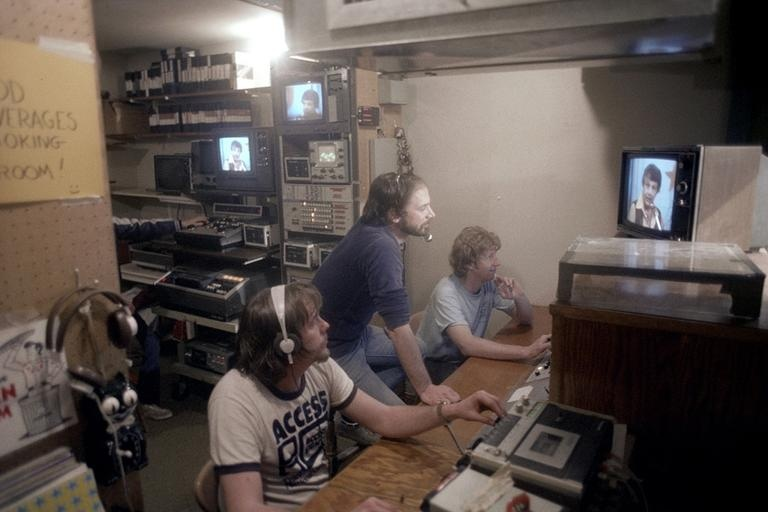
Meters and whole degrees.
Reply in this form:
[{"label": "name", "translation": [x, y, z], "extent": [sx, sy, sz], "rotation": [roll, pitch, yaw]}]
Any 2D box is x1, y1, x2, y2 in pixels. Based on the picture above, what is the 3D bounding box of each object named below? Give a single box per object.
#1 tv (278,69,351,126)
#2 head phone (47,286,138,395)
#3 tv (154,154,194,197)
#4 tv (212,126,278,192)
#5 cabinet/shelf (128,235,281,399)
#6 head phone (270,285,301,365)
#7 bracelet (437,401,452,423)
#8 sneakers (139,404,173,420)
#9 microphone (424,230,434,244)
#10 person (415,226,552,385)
[{"label": "tv", "translation": [-0.462, -1.097, 3.970], "extent": [0.661, 0.407, 0.373], "rotation": [4, 11, 26]}, {"label": "head phone", "translation": [-1.111, 0.319, 2.126], "extent": [0.239, 0.359, 0.291], "rotation": [-4, 8, 17]}, {"label": "tv", "translation": [-2.105, -0.816, 5.519], "extent": [0.416, 0.374, 0.208], "rotation": [8, 18, 25]}, {"label": "tv", "translation": [-1.122, -0.799, 4.483], "extent": [0.579, 0.481, 0.317], "rotation": [4, 8, 32]}, {"label": "cabinet/shelf", "translation": [-1.222, 0.474, 4.375], "extent": [0.891, 0.749, 1.235], "rotation": [-13, 14, -40]}, {"label": "head phone", "translation": [-0.357, 0.263, 1.981], "extent": [0.081, 0.255, 0.254], "rotation": [-15, -4, -8]}, {"label": "bracelet", "translation": [0.236, 0.596, 2.090], "extent": [0.025, 0.067, 0.061], "rotation": [-23, -24, 36]}, {"label": "sneakers", "translation": [-1.643, 1.125, 3.969], "extent": [0.197, 0.084, 0.182], "rotation": [-6, 10, -26]}, {"label": "microphone", "translation": [0.318, -0.136, 3.841], "extent": [0.076, 0.100, 0.053], "rotation": [9, -27, -23]}, {"label": "person", "translation": [0.639, 0.292, 3.286], "extent": [0.847, 1.112, 0.511], "rotation": [9, 25, 23]}]
